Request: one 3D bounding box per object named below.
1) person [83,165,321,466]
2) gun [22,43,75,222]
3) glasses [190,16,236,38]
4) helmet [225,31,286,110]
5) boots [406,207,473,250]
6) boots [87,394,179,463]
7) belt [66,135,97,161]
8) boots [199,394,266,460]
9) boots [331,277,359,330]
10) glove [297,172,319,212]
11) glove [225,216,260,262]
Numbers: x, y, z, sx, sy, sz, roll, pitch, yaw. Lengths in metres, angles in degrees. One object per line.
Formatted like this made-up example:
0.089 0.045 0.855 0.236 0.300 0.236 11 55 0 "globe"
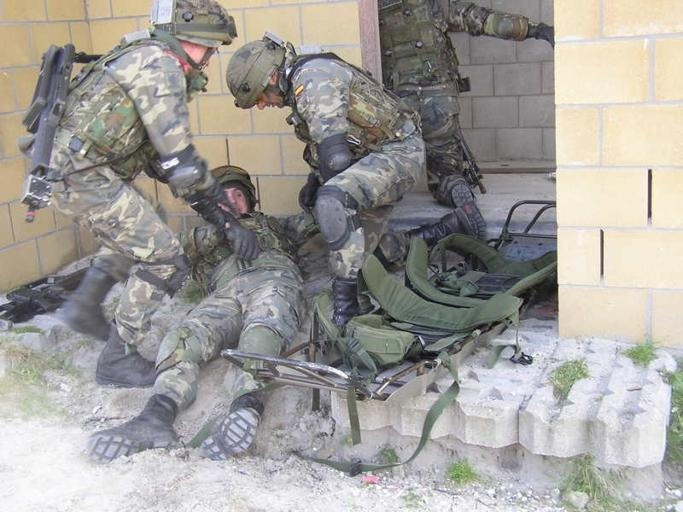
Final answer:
-0.748 0.204 3.563 1.031 1.553 1.796 -1 8 0 "person"
-1.684 -0.724 3.284 0.321 1.010 0.318 -5 9 -25 "gun"
-0.799 -1.436 3.595 0.204 0.108 0.146 -7 17 -20 "glasses"
-0.619 -1.295 3.984 0.316 0.495 0.354 24 21 -25 "helmet"
0.790 -0.236 4.534 0.452 0.210 0.322 -22 17 6 "boots"
-1.016 0.903 2.952 0.172 0.228 0.516 28 5 19 "boots"
-1.514 -0.633 3.284 0.132 0.134 0.035 34 -13 -12 "belt"
-0.546 0.897 2.943 0.387 0.191 0.172 -42 -18 19 "boots"
0.028 0.272 3.467 0.167 0.288 0.282 2 7 9 "boots"
-0.253 -0.500 4.480 0.110 0.298 0.216 27 -32 -21 "glove"
-0.663 -0.120 3.730 0.259 0.243 0.414 -6 8 -5 "glove"
